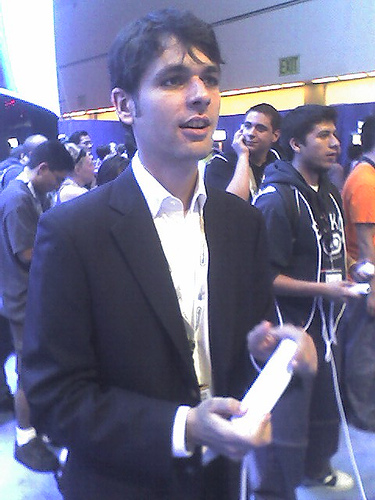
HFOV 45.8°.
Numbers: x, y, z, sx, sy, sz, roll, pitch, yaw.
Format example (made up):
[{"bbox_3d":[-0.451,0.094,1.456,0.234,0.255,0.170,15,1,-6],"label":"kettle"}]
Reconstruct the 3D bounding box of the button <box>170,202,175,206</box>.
[{"bbox_3d":[-0.032,-0.105,1.019,0.009,0.007,0.003,-4,18,-5],"label":"button"}]

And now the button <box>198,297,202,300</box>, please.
[{"bbox_3d":[0.029,0.111,1.019,0.007,0.007,0.004,1,-8,-6],"label":"button"}]

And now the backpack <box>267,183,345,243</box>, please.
[{"bbox_3d":[0.474,-0.197,1.949,0.220,0.319,0.120,-4,-6,-5],"label":"backpack"}]

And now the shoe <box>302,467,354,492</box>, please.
[{"bbox_3d":[0.675,1.098,2.132,0.191,0.131,0.053,10,-22,-5],"label":"shoe"}]
